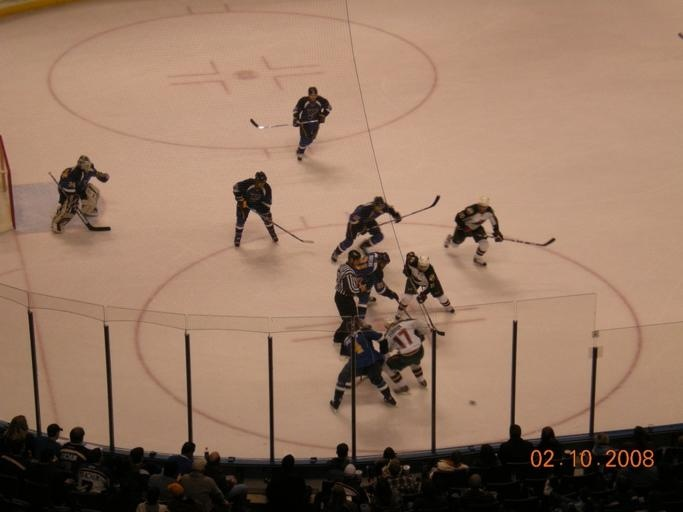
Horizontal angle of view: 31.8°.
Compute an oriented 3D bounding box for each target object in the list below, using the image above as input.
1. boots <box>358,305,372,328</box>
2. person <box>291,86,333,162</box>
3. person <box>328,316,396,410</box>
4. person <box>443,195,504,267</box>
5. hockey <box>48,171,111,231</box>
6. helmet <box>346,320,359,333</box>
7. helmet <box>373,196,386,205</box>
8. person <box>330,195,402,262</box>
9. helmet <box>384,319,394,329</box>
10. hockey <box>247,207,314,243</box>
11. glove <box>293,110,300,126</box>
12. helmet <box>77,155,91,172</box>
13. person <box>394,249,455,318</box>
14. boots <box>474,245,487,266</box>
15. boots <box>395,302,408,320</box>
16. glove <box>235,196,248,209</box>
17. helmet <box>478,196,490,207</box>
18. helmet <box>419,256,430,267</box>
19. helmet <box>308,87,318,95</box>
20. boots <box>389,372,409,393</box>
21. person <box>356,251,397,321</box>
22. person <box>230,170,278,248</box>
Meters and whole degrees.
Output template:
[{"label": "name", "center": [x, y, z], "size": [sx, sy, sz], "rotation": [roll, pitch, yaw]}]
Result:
[{"label": "boots", "center": [0.330, 1.015, 20.061], "size": [0.256, 0.392, 0.087], "rotation": [-8, -32, -9]}, {"label": "person", "center": [-0.636, -2.566, 23.425], "size": [0.714, 1.379, 0.991], "rotation": [-1, -2, -3]}, {"label": "person", "center": [0.243, 1.680, 18.260], "size": [0.870, 1.358, 1.256], "rotation": [-2, -2, 18]}, {"label": "person", "center": [2.314, -0.385, 21.453], "size": [0.797, 0.954, 1.266], "rotation": [-14, -36, -7]}, {"label": "hockey", "center": [-4.920, -0.978, 22.188], "size": [0.240, 1.523, 0.219], "rotation": [-43, -14, -23]}, {"label": "helmet", "center": [0.158, 1.034, 17.832], "size": [0.096, 0.197, 0.209], "rotation": [-3, -3, 42]}, {"label": "helmet", "center": [0.621, -0.972, 21.145], "size": [0.280, 0.100, 0.322], "rotation": [2, 5, 1]}, {"label": "person", "center": [0.408, -0.440, 21.450], "size": [0.796, 0.689, 0.948], "rotation": [-35, -22, -30]}, {"label": "helmet", "center": [0.704, 1.042, 18.491], "size": [0.116, 0.124, 0.121], "rotation": [30, 22, 37]}, {"label": "hockey", "center": [-1.183, -0.547, 22.011], "size": [1.432, 0.126, 0.175], "rotation": [22, 44, 21]}, {"label": "glove", "center": [-0.916, -2.644, 23.157], "size": [0.192, 0.255, 0.219], "rotation": [5, 3, 7]}, {"label": "helmet", "center": [-4.727, -1.675, 21.845], "size": [0.276, 0.274, 0.195], "rotation": [0, -2, -22]}, {"label": "person", "center": [1.387, 0.517, 20.062], "size": [1.118, 1.367, 0.816], "rotation": [-4, 38, -6]}, {"label": "boots", "center": [2.424, 0.001, 21.217], "size": [0.270, 0.156, 0.281], "rotation": [30, -26, 23]}, {"label": "boots", "center": [0.971, 0.929, 20.159], "size": [0.132, 0.244, 0.404], "rotation": [11, -2, 6]}, {"label": "glove", "center": [-1.821, -0.962, 21.272], "size": [0.144, 0.206, 0.124], "rotation": [-27, 43, -29]}, {"label": "helmet", "center": [2.444, -0.941, 20.784], "size": [0.179, 0.113, 0.247], "rotation": [4, 10, 5]}, {"label": "helmet", "center": [1.322, 0.087, 19.730], "size": [0.155, 0.169, 0.167], "rotation": [-1, -2, 3]}, {"label": "helmet", "center": [-0.558, -3.191, 23.119], "size": [0.219, 0.192, 0.263], "rotation": [-2, 6, -11]}, {"label": "boots", "center": [0.843, 1.986, 18.728], "size": [0.246, 0.314, 0.164], "rotation": [-19, 36, 26]}, {"label": "person", "center": [0.527, 0.543, 20.147], "size": [0.705, 0.594, 1.029], "rotation": [-9, -23, -3]}, {"label": "person", "center": [-1.596, -0.809, 21.466], "size": [0.794, 1.293, 1.108], "rotation": [-1, -2, -4]}]
